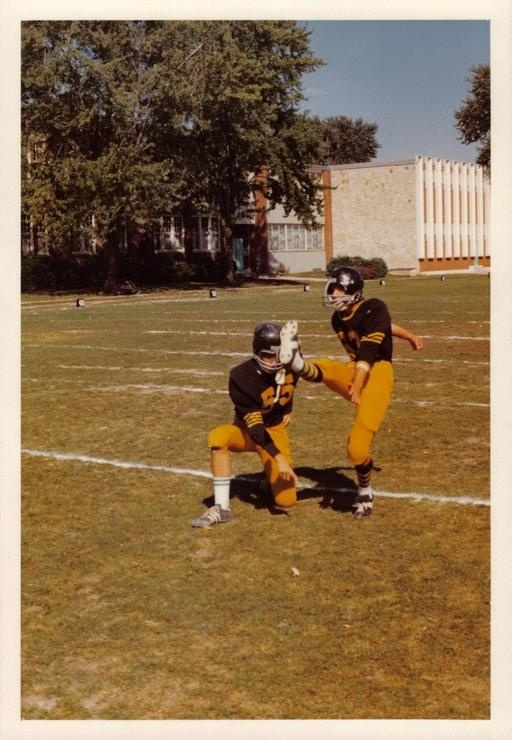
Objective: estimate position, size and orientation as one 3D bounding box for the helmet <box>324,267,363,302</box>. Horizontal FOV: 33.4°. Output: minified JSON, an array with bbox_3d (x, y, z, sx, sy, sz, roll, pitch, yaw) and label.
[{"bbox_3d":[0.652,-0.649,6.333,0.303,0.223,0.213,-3,3,-34],"label":"helmet"}]

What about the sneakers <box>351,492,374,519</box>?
[{"bbox_3d":[0.788,1.011,6.301,0.189,0.128,0.377,-1,2,7],"label":"sneakers"}]

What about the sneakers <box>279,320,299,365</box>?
[{"bbox_3d":[0.216,-0.177,5.706,0.108,0.294,0.135,13,-5,23],"label":"sneakers"}]

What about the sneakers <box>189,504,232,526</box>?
[{"bbox_3d":[-0.326,1.054,6.169,0.285,0.118,0.122,0,3,-24],"label":"sneakers"}]
